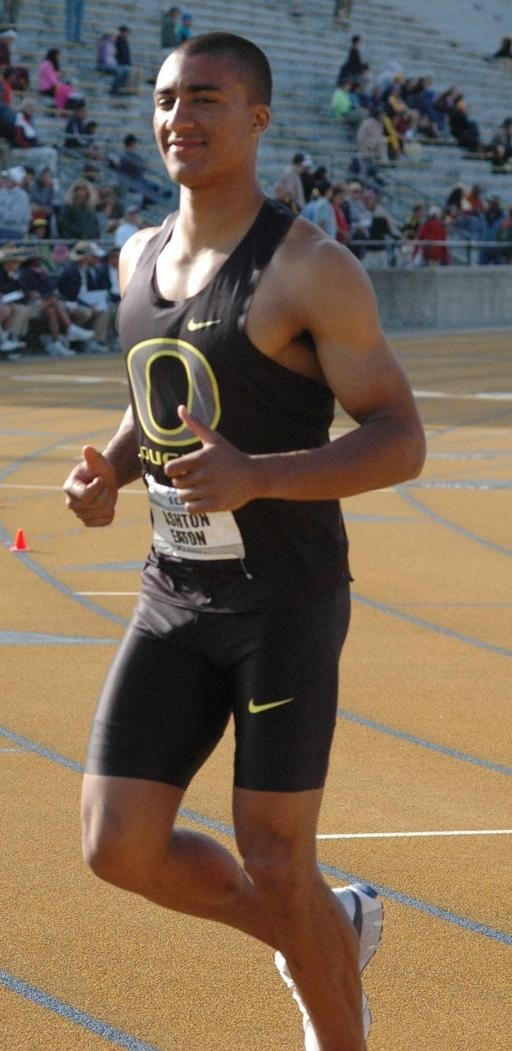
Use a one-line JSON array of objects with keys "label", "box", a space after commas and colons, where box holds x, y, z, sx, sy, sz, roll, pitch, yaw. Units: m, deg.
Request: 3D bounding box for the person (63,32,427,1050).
[{"label": "person", "box": [-0.047, 0.094, 1.593, 0.615, 1.783, 0.533, 4, 11, 20]}]
